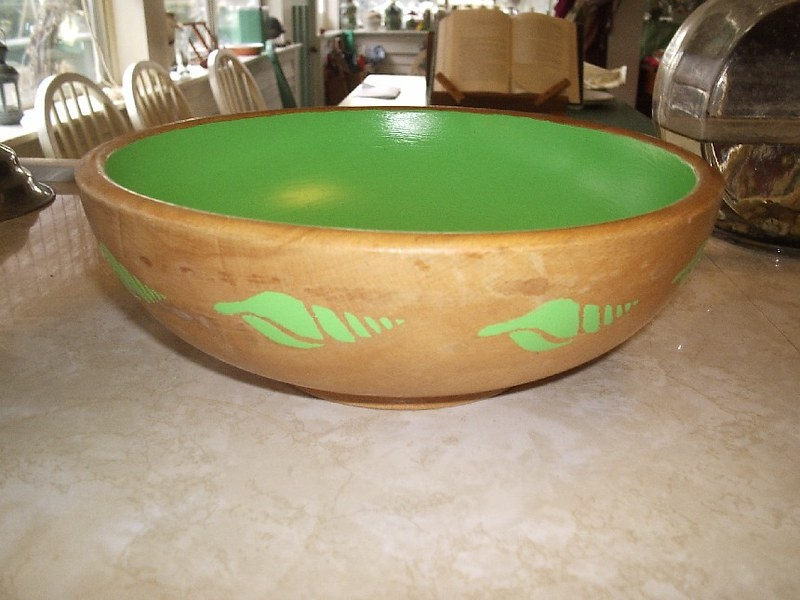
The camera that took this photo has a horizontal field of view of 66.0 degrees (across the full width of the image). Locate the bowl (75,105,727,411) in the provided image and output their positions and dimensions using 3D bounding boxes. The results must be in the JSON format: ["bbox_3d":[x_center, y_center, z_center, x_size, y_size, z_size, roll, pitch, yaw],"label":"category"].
[{"bbox_3d":[-0.002,-0.059,0.578,0.529,0.177,0.401,0,27,3],"label":"bowl"}]
